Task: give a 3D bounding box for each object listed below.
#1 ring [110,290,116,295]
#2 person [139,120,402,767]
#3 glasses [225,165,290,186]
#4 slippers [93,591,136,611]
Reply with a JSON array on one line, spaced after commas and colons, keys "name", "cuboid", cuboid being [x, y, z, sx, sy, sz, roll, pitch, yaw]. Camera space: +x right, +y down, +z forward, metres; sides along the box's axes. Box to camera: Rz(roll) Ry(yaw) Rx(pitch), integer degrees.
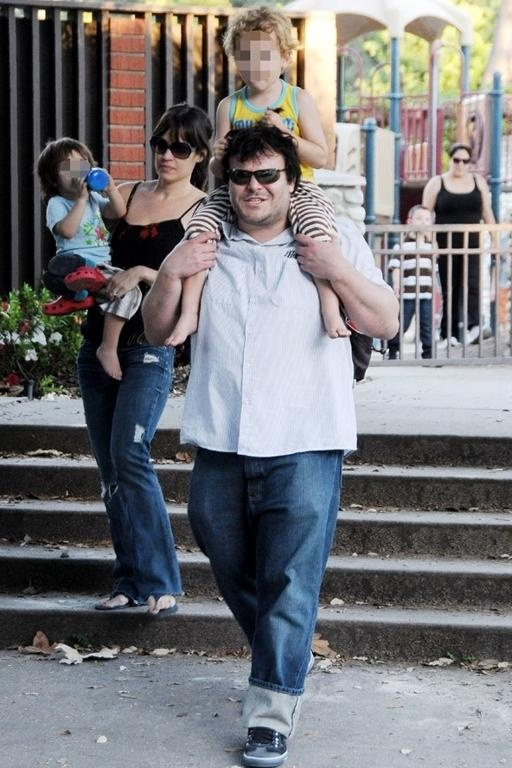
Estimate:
[{"name": "ring", "cuboid": [-0.564, -0.355, 3.855, 0.026, 0.018, 0.009, 4, 8, 21]}, {"name": "person", "cuboid": [0.036, 0.162, 2.997, 0.761, 1.906, 0.446, 1, 6, 8]}, {"name": "glasses", "cuboid": [0.003, -0.606, 2.895, 0.158, 0.049, 0.053, 0, 5, -5]}, {"name": "slippers", "cuboid": [-0.581, 0.884, 4.037, 0.177, 0.044, 0.067, 4, -3, -5]}]
